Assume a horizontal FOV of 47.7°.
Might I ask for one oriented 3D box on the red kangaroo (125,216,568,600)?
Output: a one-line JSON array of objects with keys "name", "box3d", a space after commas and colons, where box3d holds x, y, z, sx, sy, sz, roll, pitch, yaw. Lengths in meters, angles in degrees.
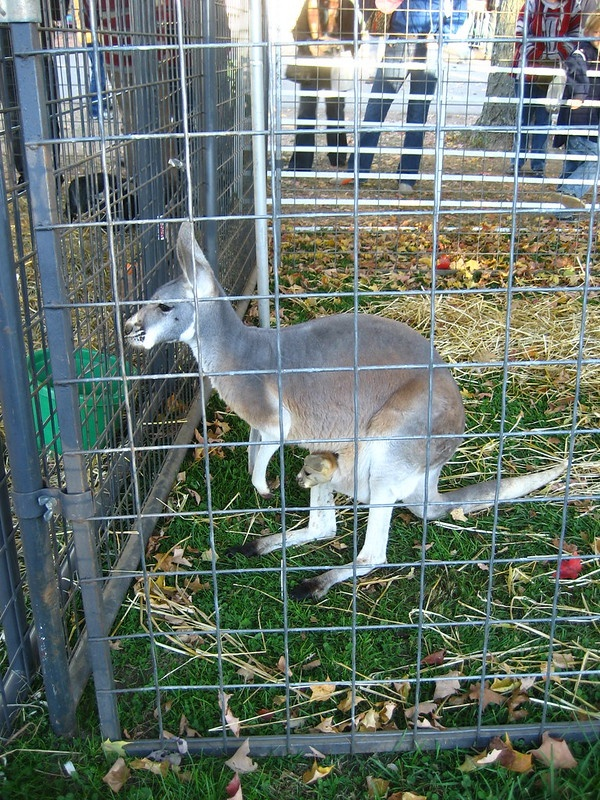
[{"name": "red kangaroo", "box3d": [0.225, 0.051, 2.534, 1.651, 1.235, 0.509, 1, 15, -9]}]
